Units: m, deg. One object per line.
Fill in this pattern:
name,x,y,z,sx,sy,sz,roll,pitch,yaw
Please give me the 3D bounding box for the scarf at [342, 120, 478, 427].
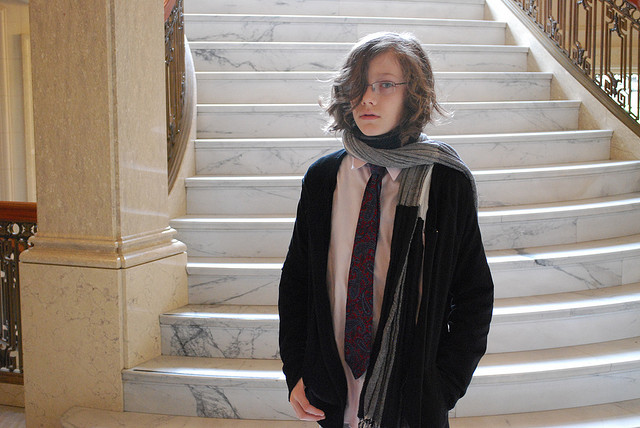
scarf,0.422,0.302,3.374,0.626,1.549,0.152,1,-1,1
